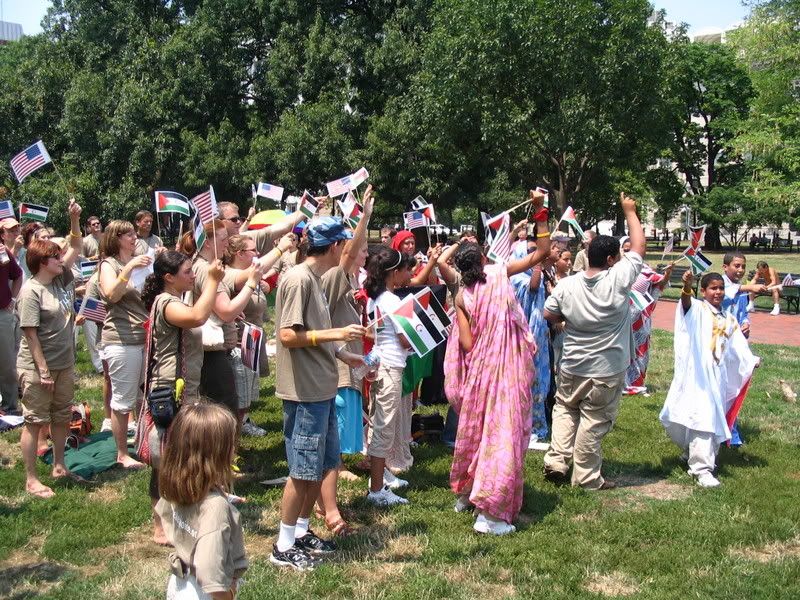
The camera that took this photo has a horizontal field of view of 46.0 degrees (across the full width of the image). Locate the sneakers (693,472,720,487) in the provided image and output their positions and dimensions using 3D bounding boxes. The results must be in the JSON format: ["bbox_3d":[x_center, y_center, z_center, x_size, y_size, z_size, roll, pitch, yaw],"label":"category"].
[{"bbox_3d":[3.830,2.196,11.710,0.302,0.183,0.230,1,-1,6],"label":"sneakers"}]

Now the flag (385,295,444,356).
[{"bbox_3d":[0.310,0.247,11.064,0.574,0.673,0.039,-34,19,14],"label":"flag"}]

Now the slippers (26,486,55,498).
[{"bbox_3d":[-4.282,2.272,11.306,0.371,0.181,0.134,-2,7,7],"label":"slippers"}]

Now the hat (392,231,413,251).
[{"bbox_3d":[0.019,-0.892,13.997,0.321,0.362,0.377,-2,0,-32],"label":"hat"}]

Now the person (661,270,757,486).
[{"bbox_3d":[3.922,0.954,12.112,1.238,2.327,0.767,1,0,-36],"label":"person"}]

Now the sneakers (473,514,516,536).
[{"bbox_3d":[1.082,2.548,10.734,0.325,0.140,0.237,0,3,2],"label":"sneakers"}]

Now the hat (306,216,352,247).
[{"bbox_3d":[-0.800,-0.739,10.389,0.385,0.234,0.290,-14,22,-29],"label":"hat"}]

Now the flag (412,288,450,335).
[{"bbox_3d":[0.362,0.142,11.328,0.365,0.497,0.051,-38,11,-21],"label":"flag"}]

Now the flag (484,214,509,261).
[{"bbox_3d":[1.307,-0.828,12.053,0.283,0.721,0.040,6,-26,8],"label":"flag"}]

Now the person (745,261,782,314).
[{"bbox_3d":[8.493,-0.254,21.956,0.615,1.199,1.669,-4,4,-8],"label":"person"}]

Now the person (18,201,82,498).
[{"bbox_3d":[-4.304,0.787,11.514,0.655,3.654,0.630,1,0,-31],"label":"person"}]

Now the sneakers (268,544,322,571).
[{"bbox_3d":[-1.150,2.756,10.135,0.462,0.242,0.238,4,1,0],"label":"sneakers"}]

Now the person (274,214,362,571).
[{"bbox_3d":[-0.980,0.968,10.221,0.789,3.714,0.512,1,0,-8],"label":"person"}]

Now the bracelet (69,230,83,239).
[{"bbox_3d":[-4.303,-0.883,12.534,0.245,0.067,0.248,1,1,-8],"label":"bracelet"}]

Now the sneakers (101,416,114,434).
[{"bbox_3d":[-4.044,1.704,12.993,0.119,0.147,0.321,2,-5,-5],"label":"sneakers"}]

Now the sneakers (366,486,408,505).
[{"bbox_3d":[-0.153,2.309,11.328,0.399,0.200,0.212,1,2,0],"label":"sneakers"}]

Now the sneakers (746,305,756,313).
[{"bbox_3d":[5.933,0.139,15.941,0.148,0.125,0.205,13,12,22],"label":"sneakers"}]

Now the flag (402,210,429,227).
[{"bbox_3d":[0.267,-1.315,15.376,0.362,0.287,0.634,1,-1,5],"label":"flag"}]

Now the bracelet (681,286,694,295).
[{"bbox_3d":[3.677,-0.128,12.041,0.103,0.135,0.139,1,0,13],"label":"bracelet"}]

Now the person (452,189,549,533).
[{"bbox_3d":[1.099,0.657,11.082,1.119,3.659,0.867,1,0,2],"label":"person"}]

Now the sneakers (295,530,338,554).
[{"bbox_3d":[-0.926,2.640,10.358,0.443,0.217,0.200,16,0,-13],"label":"sneakers"}]

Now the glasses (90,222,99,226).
[{"bbox_3d":[-4.850,-1.218,14.990,0.060,0.068,0.208,1,-1,13],"label":"glasses"}]

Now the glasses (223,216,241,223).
[{"bbox_3d":[-2.237,-1.084,12.580,0.113,0.092,0.482,1,-1,6],"label":"glasses"}]

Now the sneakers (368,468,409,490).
[{"bbox_3d":[-0.118,2.180,11.644,0.392,0.198,0.235,-3,-1,12],"label":"sneakers"}]

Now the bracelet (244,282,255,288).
[{"bbox_3d":[-1.665,-0.171,10.548,0.113,0.086,0.123,1,-1,-10],"label":"bracelet"}]

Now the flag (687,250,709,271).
[{"bbox_3d":[4.061,-0.539,12.770,0.264,0.251,0.645,1,-1,18],"label":"flag"}]

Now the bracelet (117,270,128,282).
[{"bbox_3d":[-3.453,-0.299,11.721,0.110,0.142,0.261,1,-1,-40],"label":"bracelet"}]

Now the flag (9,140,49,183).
[{"bbox_3d":[-5.483,-2.071,13.942,0.501,0.667,1.156,1,-1,-22],"label":"flag"}]

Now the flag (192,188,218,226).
[{"bbox_3d":[-2.474,-1.190,11.957,0.300,0.488,0.647,1,-1,-13],"label":"flag"}]

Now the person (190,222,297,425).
[{"bbox_3d":[-1.900,0.203,11.295,1.106,2.987,1.555,6,23,-7],"label":"person"}]
